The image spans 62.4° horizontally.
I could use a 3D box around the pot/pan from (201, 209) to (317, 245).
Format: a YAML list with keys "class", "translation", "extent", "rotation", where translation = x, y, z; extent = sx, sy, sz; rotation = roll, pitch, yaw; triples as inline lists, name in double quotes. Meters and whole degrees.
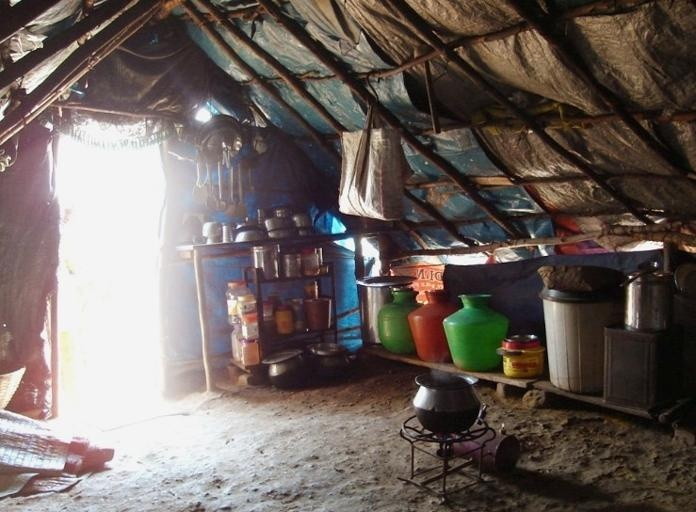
- class: "pot/pan"
  translation: [-1.005, -0.308, 6.526]
  extent: [0.941, 0.182, 0.579]
  rotation: [-3, 3, -31]

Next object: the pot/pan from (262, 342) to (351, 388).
- class: "pot/pan"
  translation: [-0.458, 1.231, 6.376]
  extent: [0.934, 0.205, 0.462]
  rotation: [-2, -1, -6]

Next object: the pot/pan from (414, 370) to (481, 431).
- class: "pot/pan"
  translation: [0.711, 1.075, 4.270]
  extent: [0.581, 0.252, 0.472]
  rotation: [0, -5, -6]

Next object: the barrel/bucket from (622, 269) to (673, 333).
- class: "barrel/bucket"
  translation: [2.397, 0.353, 4.569]
  extent: [0.382, 0.470, 0.251]
  rotation: [-6, 15, 7]

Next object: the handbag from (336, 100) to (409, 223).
- class: "handbag"
  translation: [0.222, -0.823, 5.136]
  extent: [0.557, 1.061, 0.620]
  rotation: [-14, 15, -15]

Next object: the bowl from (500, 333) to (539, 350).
- class: "bowl"
  translation: [1.653, 0.835, 5.572]
  extent: [0.378, 0.091, 0.336]
  rotation: [-5, 11, -6]

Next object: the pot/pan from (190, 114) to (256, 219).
- class: "pot/pan"
  translation: [-1.393, -0.970, 6.548]
  extent: [0.749, 1.205, 0.600]
  rotation: [-11, 15, -7]

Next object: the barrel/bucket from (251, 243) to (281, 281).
- class: "barrel/bucket"
  translation: [-0.910, 0.065, 6.489]
  extent: [0.539, 0.363, 0.353]
  rotation: [-2, 1, -9]
